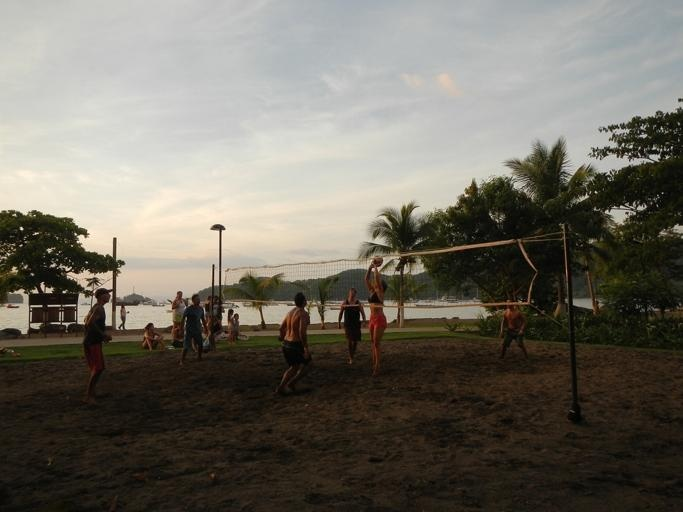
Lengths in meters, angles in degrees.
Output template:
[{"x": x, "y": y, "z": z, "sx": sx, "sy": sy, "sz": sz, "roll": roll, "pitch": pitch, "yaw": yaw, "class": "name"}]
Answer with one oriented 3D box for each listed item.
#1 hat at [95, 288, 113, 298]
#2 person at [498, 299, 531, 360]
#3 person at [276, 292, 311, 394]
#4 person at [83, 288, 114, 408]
[{"x": -4.219, "y": 0.687, "z": 10.237, "sx": 0.218, "sy": 0.231, "sz": 0.287, "roll": -3, "pitch": 5, "yaw": -25, "class": "hat"}, {"x": 4.244, "y": 1.808, "z": 14.386, "sx": 0.670, "sy": 1.525, "sz": 2.189, "roll": 1, "pitch": 5, "yaw": 18, "class": "person"}, {"x": -0.891, "y": 1.667, "z": 11.039, "sx": 0.691, "sy": 1.910, "sz": 0.637, "roll": 1, "pitch": 5, "yaw": 17, "class": "person"}, {"x": -4.358, "y": 1.592, "z": 10.369, "sx": 0.541, "sy": 2.061, "sz": 0.510, "roll": -1, "pitch": 5, "yaw": -8, "class": "person"}]
